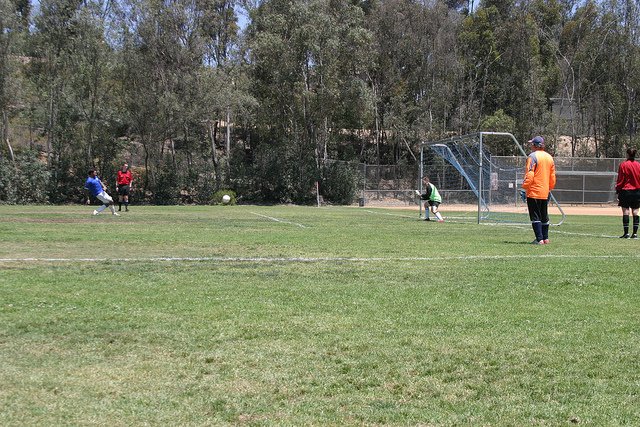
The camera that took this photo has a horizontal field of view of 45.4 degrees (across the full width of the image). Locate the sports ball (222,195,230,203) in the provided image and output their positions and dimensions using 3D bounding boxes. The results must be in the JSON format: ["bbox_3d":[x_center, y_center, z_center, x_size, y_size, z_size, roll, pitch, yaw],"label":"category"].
[{"bbox_3d":[-7.915,-1.213,65.177,0.529,0.493,0.503,-16,-11,-3],"label":"sports ball"}]

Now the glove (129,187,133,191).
[{"bbox_3d":[-16.151,-2.101,65.735,0.245,0.419,0.253,3,0,35],"label":"glove"}]

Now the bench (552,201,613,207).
[{"bbox_3d":[24.974,-0.865,72.027,4.551,0.334,1.126,-2,1,15],"label":"bench"}]

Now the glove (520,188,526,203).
[{"bbox_3d":[10.203,-0.984,38.466,0.183,0.445,0.703,-3,1,10],"label":"glove"}]
